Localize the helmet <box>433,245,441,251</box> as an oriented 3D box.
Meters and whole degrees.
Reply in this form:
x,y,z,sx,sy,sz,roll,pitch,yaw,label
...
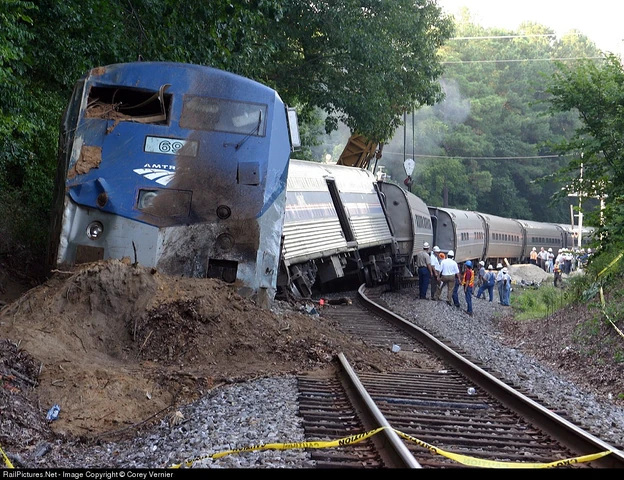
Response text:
x,y,z,sx,sy,sz,roll,pitch,yaw,label
5.535,0.412,23.311,0.287,0.163,0.411,-2,-3,3,helmet

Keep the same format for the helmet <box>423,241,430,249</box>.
x,y,z,sx,sy,sz,roll,pitch,yaw,label
4.343,0.283,19.784,0.328,0.183,0.486,-1,0,9,helmet

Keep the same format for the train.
x,y,z,sx,sy,sz,roll,pitch,yaw,label
0.995,-0.680,17.037,3.120,3.594,20.419,0,-2,22,train
